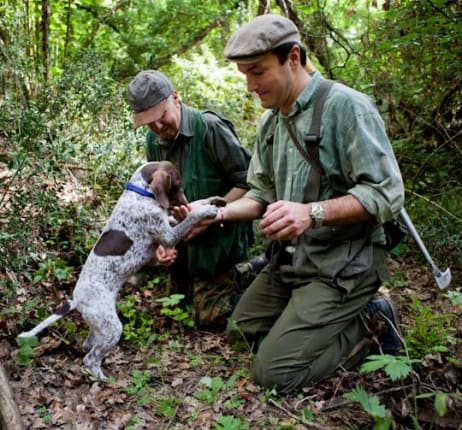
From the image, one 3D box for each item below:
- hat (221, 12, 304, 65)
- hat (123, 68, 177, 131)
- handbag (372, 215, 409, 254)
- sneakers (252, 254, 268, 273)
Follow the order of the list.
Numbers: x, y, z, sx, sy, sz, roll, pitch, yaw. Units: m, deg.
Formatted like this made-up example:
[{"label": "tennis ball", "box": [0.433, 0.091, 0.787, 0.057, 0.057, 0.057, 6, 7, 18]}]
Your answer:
[{"label": "hat", "box": [0.217, -1.320, 3.570, 0.592, 0.250, 0.439, -26, 34, -20]}, {"label": "hat", "box": [-0.729, -1.048, 4.159, 0.424, 0.317, 0.601, -2, 47, 19]}, {"label": "handbag", "box": [1.237, 0.150, 3.927, 0.287, 0.283, 0.211, -3, 28, -40]}, {"label": "sneakers", "box": [0.277, 0.453, 4.665, 0.122, 0.087, 0.226, -33, -4, 27]}]
